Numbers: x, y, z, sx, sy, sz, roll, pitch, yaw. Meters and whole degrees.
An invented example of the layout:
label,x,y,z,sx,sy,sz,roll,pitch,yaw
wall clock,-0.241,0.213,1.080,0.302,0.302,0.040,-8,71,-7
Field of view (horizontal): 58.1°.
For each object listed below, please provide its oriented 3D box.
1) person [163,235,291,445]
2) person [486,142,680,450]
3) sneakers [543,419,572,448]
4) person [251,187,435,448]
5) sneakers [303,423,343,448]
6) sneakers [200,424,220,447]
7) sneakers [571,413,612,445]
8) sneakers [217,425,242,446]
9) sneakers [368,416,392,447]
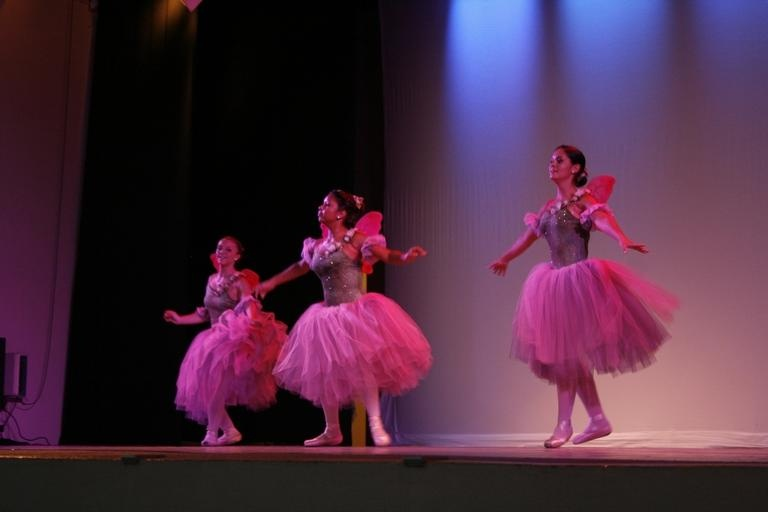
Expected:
label,x,y,z,sx,sy,sz,roll,pitch,yaw
person,-0.977,0.581,4.387,0.737,1.320,0.822,19,-28,-41
person,1.152,0.226,3.963,0.758,1.687,1.008,9,-13,-25
sneakers,0.929,0.958,3.736,0.226,0.167,0.081,-5,-3,-44
person,-0.187,0.342,4.004,0.899,1.488,0.555,-1,-4,3
sneakers,-0.375,1.055,4.044,0.257,0.180,0.106,1,-9,3
sneakers,-1.058,1.096,4.206,0.069,0.076,0.162,1,-16,-5
sneakers,1.113,0.925,3.718,0.189,0.158,0.149,-2,-5,13
sneakers,-0.921,1.100,4.211,0.188,0.151,0.067,-4,-6,-6
sneakers,-0.013,0.969,3.794,0.100,0.161,0.249,0,-5,-12
